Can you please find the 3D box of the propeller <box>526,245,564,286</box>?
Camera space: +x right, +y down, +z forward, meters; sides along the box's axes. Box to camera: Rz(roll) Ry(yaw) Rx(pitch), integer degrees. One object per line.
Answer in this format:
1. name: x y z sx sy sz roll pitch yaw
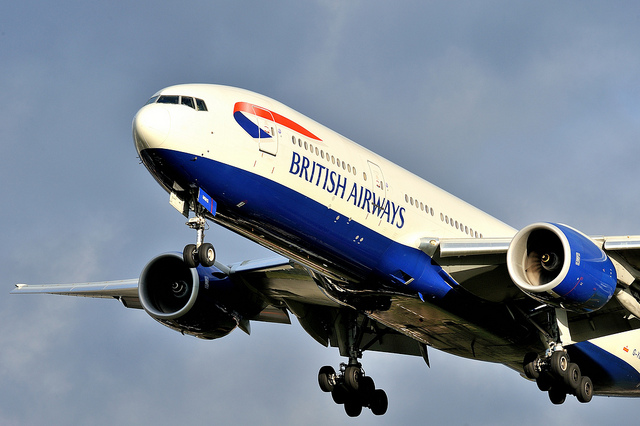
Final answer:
1. propeller: 4.753 1.090 18.685 0.764 0.767 0.831 24 3 18
